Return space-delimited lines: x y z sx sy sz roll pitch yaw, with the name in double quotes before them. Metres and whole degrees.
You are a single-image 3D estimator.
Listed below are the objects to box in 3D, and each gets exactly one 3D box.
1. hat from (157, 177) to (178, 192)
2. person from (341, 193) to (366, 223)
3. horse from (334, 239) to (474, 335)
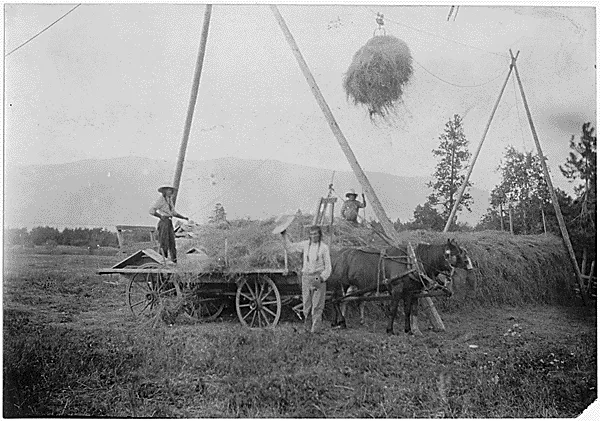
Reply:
"hat" -2.399 -0.463 8.585 0.231 0.120 0.246 1 -36 -4
"person" 0.999 -0.083 8.915 0.434 0.947 0.306 -2 18 1
"horse" 1.614 1.284 8.335 2.296 1.608 0.439 0 -7 14
